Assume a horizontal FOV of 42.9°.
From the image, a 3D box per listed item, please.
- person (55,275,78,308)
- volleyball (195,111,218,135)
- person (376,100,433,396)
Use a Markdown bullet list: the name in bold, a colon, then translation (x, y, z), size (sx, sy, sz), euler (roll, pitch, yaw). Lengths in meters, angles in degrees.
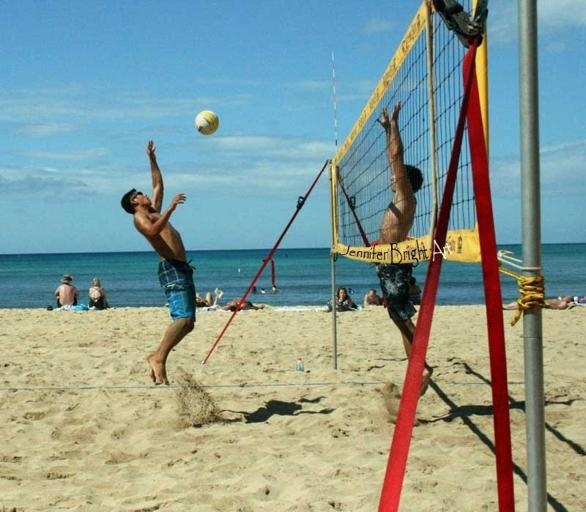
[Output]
- **person**: translation (-4.526, 0.773, 14.953), size (0.388, 0.853, 0.431), euler (4, 14, -13)
- **volleyball**: translation (-0.851, -1.340, 7.456), size (0.208, 0.243, 0.184), euler (-7, 1, -11)
- **person**: translation (0.885, 0.019, 6.088), size (0.404, 2.170, 0.917), euler (-5, 1, 6)
